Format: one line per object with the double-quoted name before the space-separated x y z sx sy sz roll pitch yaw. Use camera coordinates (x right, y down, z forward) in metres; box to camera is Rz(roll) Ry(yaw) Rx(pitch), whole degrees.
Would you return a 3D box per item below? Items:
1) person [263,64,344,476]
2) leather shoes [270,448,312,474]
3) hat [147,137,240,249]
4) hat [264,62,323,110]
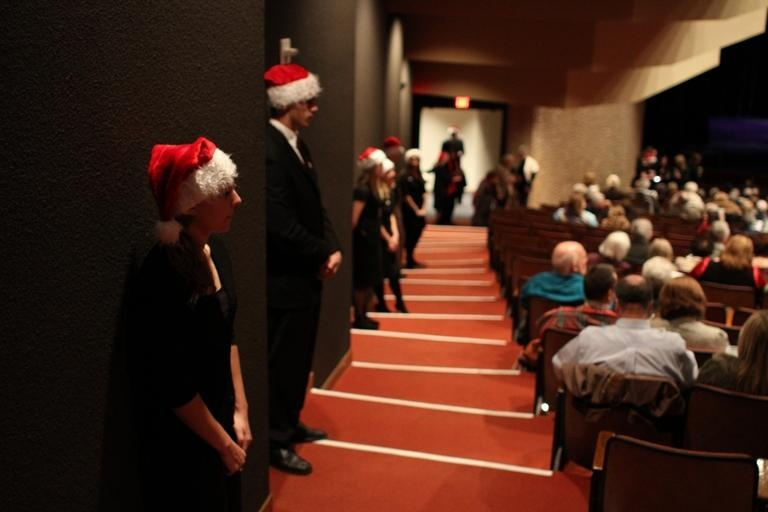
"person" -0.449 0.077 3.260 0.410 2.205 0.549 0 13 -6
"leather shoes" -0.526 1.153 3.271 0.277 0.106 0.105 8 15 15
"hat" -0.654 -0.204 2.049 0.308 0.349 0.275 -2 -2 13
"hat" -0.497 -0.920 3.174 0.272 0.176 0.217 -8 40 -11
